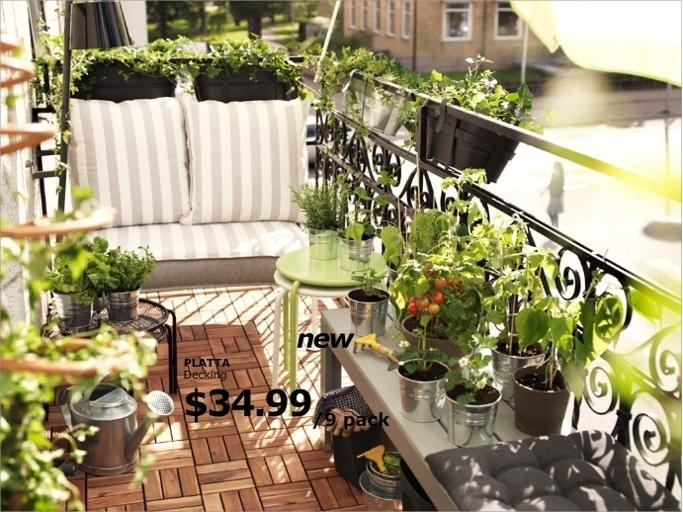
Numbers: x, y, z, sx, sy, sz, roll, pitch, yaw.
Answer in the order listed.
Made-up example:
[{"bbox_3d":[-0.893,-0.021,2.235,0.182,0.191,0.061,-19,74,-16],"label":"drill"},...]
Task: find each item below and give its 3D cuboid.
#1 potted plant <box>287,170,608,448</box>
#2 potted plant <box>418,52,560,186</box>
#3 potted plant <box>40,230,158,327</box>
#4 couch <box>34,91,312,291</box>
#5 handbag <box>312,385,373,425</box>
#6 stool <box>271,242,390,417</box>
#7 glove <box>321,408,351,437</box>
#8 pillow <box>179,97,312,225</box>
[{"bbox_3d":[0.400,0.083,1.792,0.951,0.698,0.626,2,6,30],"label":"potted plant"},{"bbox_3d":[0.622,-0.610,2.476,0.481,0.472,0.517,7,22,21],"label":"potted plant"},{"bbox_3d":[-1.012,0.116,2.273,0.479,0.400,0.540,6,4,31],"label":"potted plant"},{"bbox_3d":[-0.905,-0.417,3.386,1.471,1.121,0.794,-5,17,-21],"label":"couch"},{"bbox_3d":[0.009,0.628,2.335,0.207,0.100,0.212,-5,10,-3],"label":"handbag"},{"bbox_3d":[-0.178,0.361,2.806,0.663,0.759,0.685,1,19,-7],"label":"stool"},{"bbox_3d":[-0.018,0.701,2.236,0.106,0.110,0.048,-2,-19,35],"label":"glove"},{"bbox_3d":[-0.670,-0.606,3.540,0.861,0.843,0.302,-3,1,-11],"label":"pillow"}]
